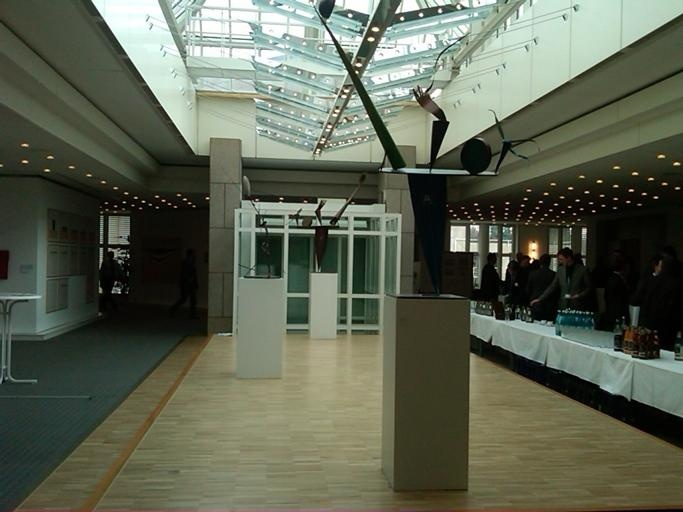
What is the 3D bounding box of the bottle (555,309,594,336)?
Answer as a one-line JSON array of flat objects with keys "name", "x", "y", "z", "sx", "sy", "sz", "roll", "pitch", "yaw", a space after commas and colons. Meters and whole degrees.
[{"name": "bottle", "x": 3.454, "y": 0.970, "z": 8.245, "sx": 0.511, "sy": 0.381, "sz": 0.372, "roll": 0, "pitch": -8, "yaw": 5}]
